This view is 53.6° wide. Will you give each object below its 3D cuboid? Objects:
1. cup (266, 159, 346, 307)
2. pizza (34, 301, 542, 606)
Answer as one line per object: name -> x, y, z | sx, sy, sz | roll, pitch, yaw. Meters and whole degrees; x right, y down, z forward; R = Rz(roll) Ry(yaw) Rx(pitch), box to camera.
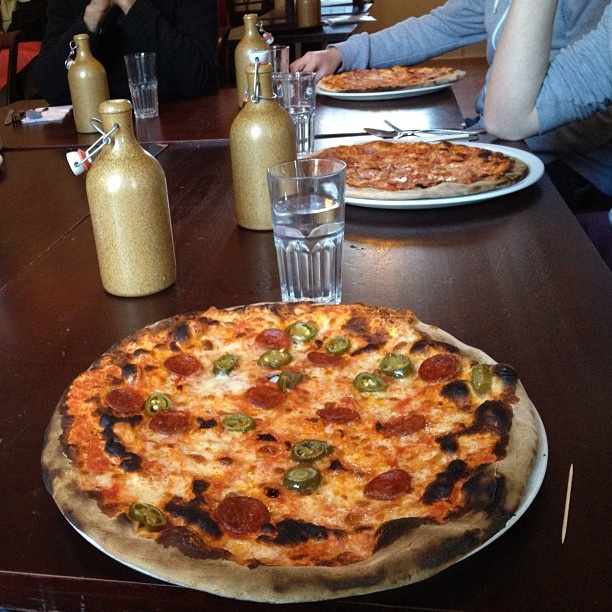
cup -> 0.004, -0.093, 0.760 | 0.091, 0.168, 0.101 | -1, 35, 3
pizza -> -0.016, 0.084, 0.504 | 0.395, 0.047, 0.353 | 7, 34, 14
